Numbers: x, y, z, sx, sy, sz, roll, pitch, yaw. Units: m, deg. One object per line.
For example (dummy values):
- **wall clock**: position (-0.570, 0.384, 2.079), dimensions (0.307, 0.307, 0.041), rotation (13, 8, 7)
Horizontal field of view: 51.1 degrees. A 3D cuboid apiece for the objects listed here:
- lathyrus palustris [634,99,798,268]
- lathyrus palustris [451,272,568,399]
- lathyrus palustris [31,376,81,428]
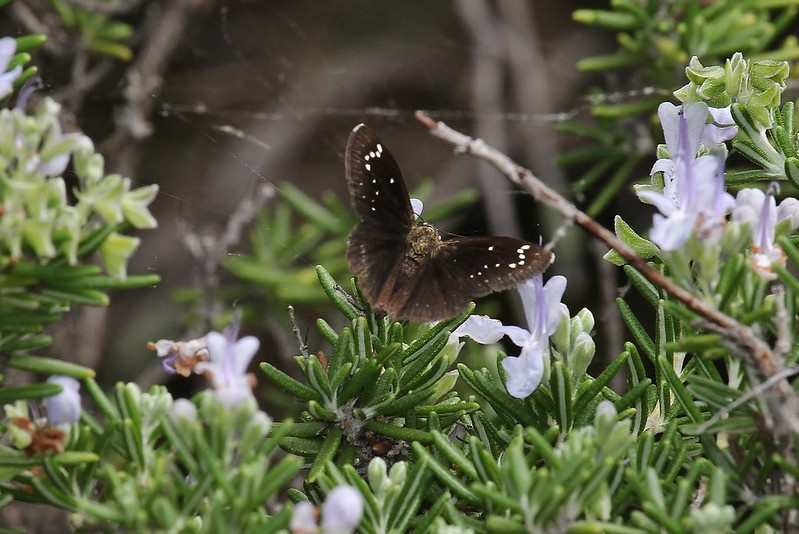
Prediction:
- **lathyrus palustris**: position (0.569, -0.094, 1.493), dimensions (0.283, 0.344, 0.147), rotation (-4, 46, 48)
- **lathyrus palustris**: position (0.232, 0.117, 1.571), dimensions (0.191, 0.169, 0.227), rotation (-28, 53, -12)
- **lathyrus palustris**: position (-0.595, 0.232, 1.456), dimensions (0.065, 0.089, 0.033), rotation (0, 13, 4)
